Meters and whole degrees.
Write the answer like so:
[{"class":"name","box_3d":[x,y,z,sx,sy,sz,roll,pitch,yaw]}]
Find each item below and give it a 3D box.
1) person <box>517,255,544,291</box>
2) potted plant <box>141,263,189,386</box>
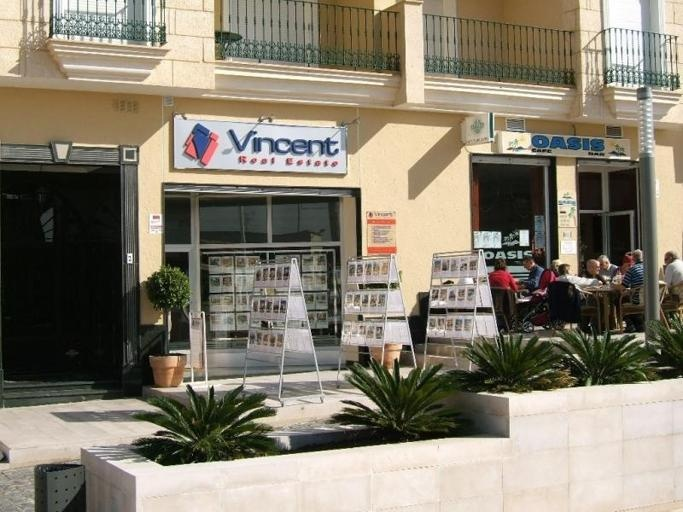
[{"class":"person","box_3d":[3.818,0.392,15.790,0.541,0.960,0.673,0,-8,13]},{"class":"potted plant","box_3d":[-2.853,1.130,12.914,0.698,1.850,1.469,-5,14,-20]}]
